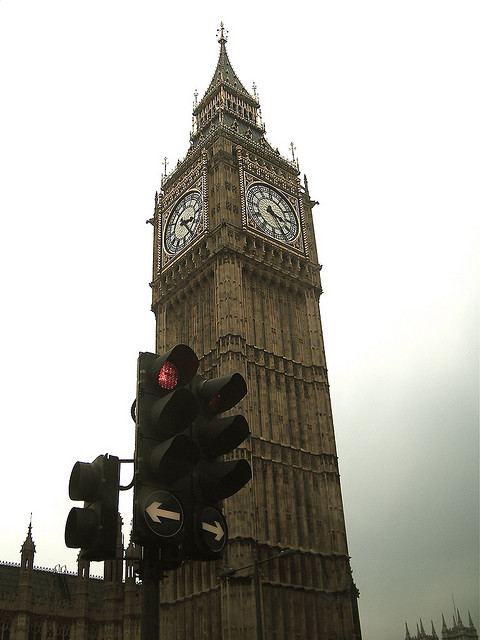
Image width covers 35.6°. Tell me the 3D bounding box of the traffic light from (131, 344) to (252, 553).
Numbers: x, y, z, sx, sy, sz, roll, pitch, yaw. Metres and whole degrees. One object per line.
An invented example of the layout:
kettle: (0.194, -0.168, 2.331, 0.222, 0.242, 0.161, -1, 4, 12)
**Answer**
traffic light: (-0.409, 1.169, 6.790, 1.072, 1.758, 0.535, 23, -39, -31)

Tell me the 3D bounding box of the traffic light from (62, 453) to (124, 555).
traffic light: (-1.266, 1.583, 6.475, 0.390, 0.753, 0.364, 11, -26, -30)

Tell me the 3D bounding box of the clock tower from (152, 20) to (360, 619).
clock tower: (-0.062, -4.956, 50.425, 10.378, 48.543, 7.905, -3, -31, -1)
